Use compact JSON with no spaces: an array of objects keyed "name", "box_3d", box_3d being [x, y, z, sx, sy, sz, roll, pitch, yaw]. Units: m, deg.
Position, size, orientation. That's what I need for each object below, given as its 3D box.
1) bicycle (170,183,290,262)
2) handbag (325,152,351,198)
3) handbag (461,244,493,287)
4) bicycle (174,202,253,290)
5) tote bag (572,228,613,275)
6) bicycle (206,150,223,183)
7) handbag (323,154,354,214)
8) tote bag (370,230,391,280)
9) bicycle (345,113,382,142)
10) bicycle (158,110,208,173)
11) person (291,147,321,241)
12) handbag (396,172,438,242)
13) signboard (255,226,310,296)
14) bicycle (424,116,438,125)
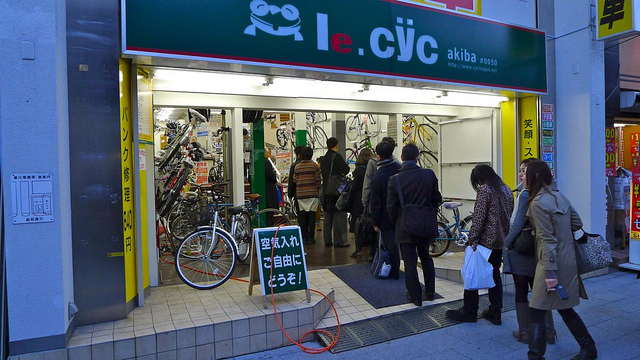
[{"name":"bicycle","box_3d":[-1.711,0.968,9.205,2.565,1.388,1.088,-11,-22,13]},{"name":"handbag","box_3d":[0.464,-0.094,10.182,0.489,1.058,0.605,2,1,5]},{"name":"handbag","box_3d":[2.521,1.428,7.102,0.502,0.629,0.310,-3,12,40]},{"name":"bicycle","box_3d":[-2.174,1.142,9.045,1.535,1.458,2.894,-4,7,-9]},{"name":"tote bag","box_3d":[4.001,1.052,6.553,0.545,0.730,0.426,0,0,8]},{"name":"bicycle","box_3d":[-3.563,-0.449,14.759,0.566,1.037,0.954,-5,7,-14]},{"name":"handbag","box_3d":[0.624,0.134,10.102,0.667,1.080,0.881,3,5,-21]},{"name":"tote bag","box_3d":[1.123,1.412,8.298,0.386,0.997,0.278,-2,7,13]},{"name":"bicycle","box_3d":[1.472,-2.189,16.350,1.026,1.243,1.952,11,12,4]},{"name":"bicycle","box_3d":[-3.482,-0.983,11.013,1.228,1.519,0.747,-8,8,-39]},{"name":"person","box_3d":[-0.320,0.360,10.613,0.715,2.261,0.406,-4,6,-5]},{"name":"handbag","box_3d":[1.643,0.480,7.502,0.653,1.130,0.310,-2,7,8]},{"name":"signboard","box_3d":[-0.647,1.315,7.222,0.778,1.022,0.450,-5,7,-14]},{"name":"bicycle","box_3d":[3.780,-2.010,14.944,0.411,0.259,0.597,-1,7,12]}]
